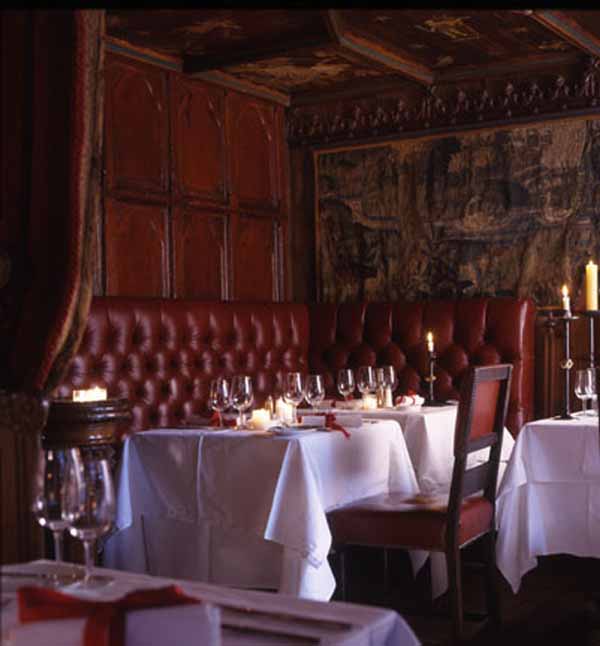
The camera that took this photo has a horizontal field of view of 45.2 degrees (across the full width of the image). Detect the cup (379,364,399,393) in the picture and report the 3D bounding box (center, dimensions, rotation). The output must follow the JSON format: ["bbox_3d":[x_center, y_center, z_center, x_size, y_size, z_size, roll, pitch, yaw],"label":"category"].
[{"bbox_3d":[0.487,0.311,4.080,0.112,0.181,0.114,-3,4,0],"label":"cup"}]

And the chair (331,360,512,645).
[{"bbox_3d":[0.508,0.712,3.314,0.860,1.596,0.785,0,-3,26],"label":"chair"}]
